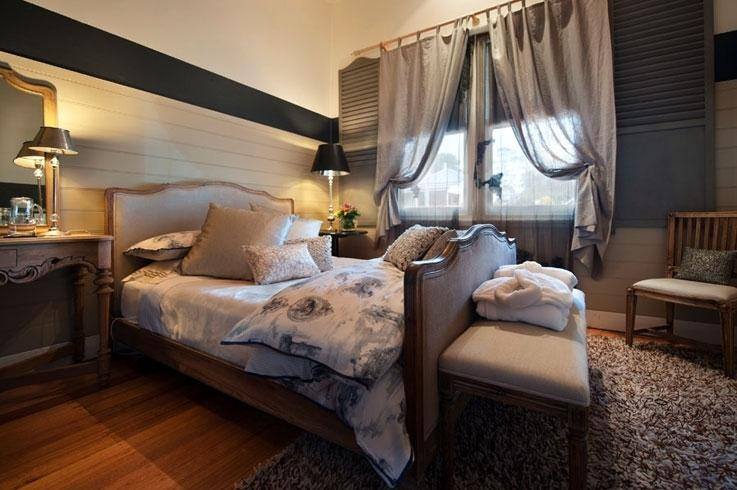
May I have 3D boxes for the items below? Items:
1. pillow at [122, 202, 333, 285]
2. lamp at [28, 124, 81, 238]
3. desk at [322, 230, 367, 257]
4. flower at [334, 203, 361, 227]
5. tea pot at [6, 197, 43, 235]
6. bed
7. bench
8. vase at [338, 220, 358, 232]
[{"bbox_3d":[-1.201,-0.040,4.185,0.995,0.342,1.086,10,14,40],"label":"pillow"},{"bbox_3d":[-2.699,-0.545,3.896,0.345,0.881,0.367,-2,-2,30],"label":"lamp"},{"bbox_3d":[-0.356,-0.078,5.778,0.380,0.406,0.399,0,4,15],"label":"desk"},{"bbox_3d":[-0.281,-0.380,5.815,0.287,0.317,0.299,0,2,-1],"label":"flower"},{"bbox_3d":[-2.799,-0.230,3.655,0.174,0.302,0.205,-6,9,-39],"label":"tea pot"},{"bbox_3d":[-0.670,0.534,3.994,2.972,1.561,2.196,3,6,31],"label":"bed"},{"bbox_3d":[1.050,0.669,3.188,0.811,0.861,1.638,0,3,25],"label":"bench"},{"bbox_3d":[-0.268,-0.259,5.788,0.150,0.121,0.157,0,8,1],"label":"vase"}]
